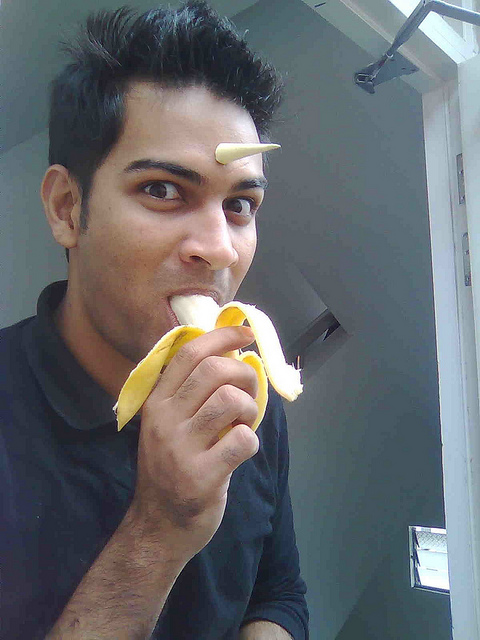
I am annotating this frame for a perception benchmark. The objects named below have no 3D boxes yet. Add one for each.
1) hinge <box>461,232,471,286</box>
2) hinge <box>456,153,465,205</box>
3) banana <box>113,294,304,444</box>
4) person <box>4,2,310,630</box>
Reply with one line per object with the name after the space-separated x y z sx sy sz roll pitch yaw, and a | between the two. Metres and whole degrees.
0.561 -0.149 1.881 0.020 0.130 0.046 2 2 3 | hinge
0.552 -0.349 1.891 0.020 0.128 0.061 3 2 7 | hinge
-0.046 0.040 1.156 0.220 0.109 0.267 -13 34 7 | banana
-0.144 -0.053 1.245 0.399 1.008 0.389 3 2 8 | person
